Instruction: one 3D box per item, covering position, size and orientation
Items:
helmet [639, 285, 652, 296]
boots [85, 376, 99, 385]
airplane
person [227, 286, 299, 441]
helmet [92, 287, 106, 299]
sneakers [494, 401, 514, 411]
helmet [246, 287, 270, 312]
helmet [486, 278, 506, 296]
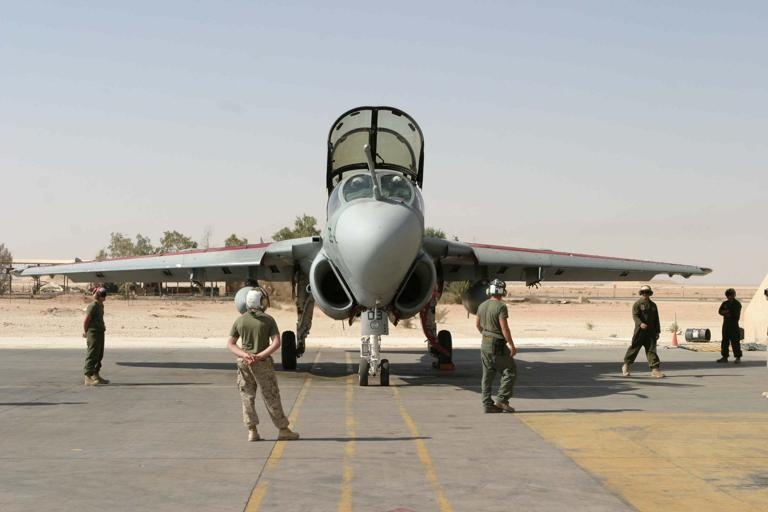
[{"bbox_3d":[7.015,0.902,21.351,0.425,0.145,0.362,-4,-16,20],"label":"helmet"},{"bbox_3d":[-7.477,3.172,20.291,0.308,0.244,0.199,1,-1,-16],"label":"boots"},{"bbox_3d":[-0.271,-0.232,23.014,17.621,3.720,9.723,0,-1,-2],"label":"airplane"},{"bbox_3d":[-2.397,2.087,15.291,1.203,2.928,1.110,1,-1,-3],"label":"person"},{"bbox_3d":[-7.395,0.939,20.455,0.382,0.330,0.380,2,0,-9],"label":"helmet"},{"bbox_3d":[2.600,3.288,17.333,0.489,0.186,0.157,21,29,-36],"label":"sneakers"},{"bbox_3d":[-2.453,0.838,15.165,0.490,0.411,0.507,6,-3,-12],"label":"helmet"},{"bbox_3d":[2.466,0.694,17.403,0.412,0.358,0.396,2,8,11],"label":"helmet"}]
